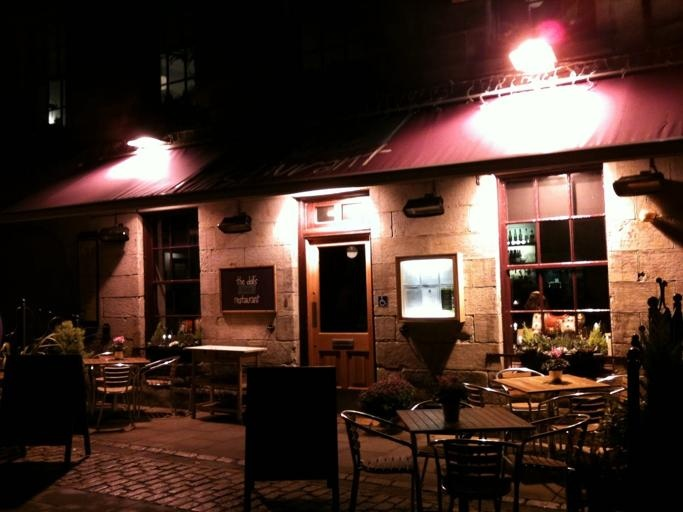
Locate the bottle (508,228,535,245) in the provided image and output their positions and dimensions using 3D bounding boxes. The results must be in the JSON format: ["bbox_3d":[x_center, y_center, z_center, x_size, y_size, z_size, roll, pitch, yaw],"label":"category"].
[{"bbox_3d":[2.787,-0.300,10.397,0.402,0.266,0.033,0,4,23],"label":"bottle"}]

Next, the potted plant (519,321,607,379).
[{"bbox_3d":[3.326,1.360,10.083,0.755,0.416,0.942,-1,0,-4],"label":"potted plant"}]

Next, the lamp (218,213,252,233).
[{"bbox_3d":[-1.915,-0.593,12.111,0.622,0.383,0.248,0,5,28],"label":"lamp"}]

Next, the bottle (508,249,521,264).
[{"bbox_3d":[2.695,0.012,10.454,0.192,0.216,0.037,-1,4,15],"label":"bottle"}]

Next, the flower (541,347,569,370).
[{"bbox_3d":[2.897,1.363,9.033,0.317,0.316,0.323,1,-6,-9],"label":"flower"}]

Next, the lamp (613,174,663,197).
[{"bbox_3d":[4.116,-0.997,9.270,0.743,0.322,0.370,-1,4,6],"label":"lamp"}]

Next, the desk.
[{"bbox_3d":[-1.956,2.146,11.553,1.266,1.204,0.895,-2,-8,30],"label":"desk"}]

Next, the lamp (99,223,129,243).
[{"bbox_3d":[-4.469,-0.439,13.230,0.605,0.392,0.321,1,5,31],"label":"lamp"}]

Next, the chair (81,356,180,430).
[{"bbox_3d":[-3.739,2.242,11.439,1.079,0.789,1.412,1,3,-13],"label":"chair"}]

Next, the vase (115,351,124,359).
[{"bbox_3d":[-3.814,1.674,11.581,0.149,0.148,0.111,1,0,8],"label":"vase"}]
